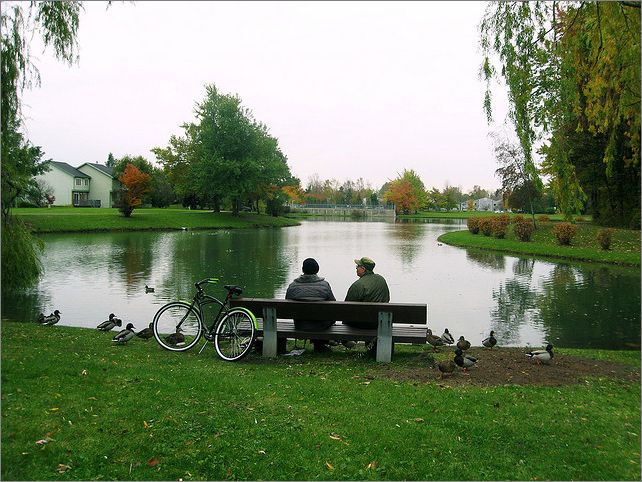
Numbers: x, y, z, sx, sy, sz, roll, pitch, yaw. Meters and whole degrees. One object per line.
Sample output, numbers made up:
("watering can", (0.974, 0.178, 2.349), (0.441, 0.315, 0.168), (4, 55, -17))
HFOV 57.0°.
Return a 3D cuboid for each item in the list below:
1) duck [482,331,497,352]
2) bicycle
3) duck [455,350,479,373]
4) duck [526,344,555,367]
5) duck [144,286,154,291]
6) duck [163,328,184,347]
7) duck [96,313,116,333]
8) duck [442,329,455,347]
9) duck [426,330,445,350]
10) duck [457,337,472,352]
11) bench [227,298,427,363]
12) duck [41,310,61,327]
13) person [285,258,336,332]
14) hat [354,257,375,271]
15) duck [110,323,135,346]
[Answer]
("duck", (3.760, 2.216, 13.261), (0.251, 0.457, 0.448), (-4, -5, -39))
("bicycle", (-2.426, 1.619, 12.473), (2.371, 1.612, 0.808), (3, -8, 18))
("duck", (2.807, 2.307, 11.528), (0.469, 0.395, 0.261), (2, -15, 15))
("duck", (4.335, 2.264, 11.749), (0.543, 0.428, 0.316), (0, 0, 13))
("duck", (-5.640, 1.564, 19.344), (0.255, 0.191, 0.169), (7, 3, 43))
("duck", (-3.178, 2.059, 12.709), (0.395, 0.396, 0.315), (3, 1, -4))
("duck", (-5.357, 2.003, 14.556), (0.535, 0.460, 0.308), (-8, 5, -6))
("duck", (2.892, 2.209, 13.607), (0.214, 0.330, 0.404), (3, 4, 2))
("duck", (2.547, 2.209, 13.226), (0.379, 0.444, 0.845), (0, -2, 12))
("duck", (3.045, 2.230, 12.808), (0.258, 0.297, 0.376), (-8, -18, 30))
("bench", (0.242, 1.763, 12.709), (4.146, 1.461, 1.367), (0, 13, 15))
("duck", (-6.839, 1.928, 14.907), (0.397, 0.371, 0.519), (2, -2, -32))
("person", (-0.257, 1.110, 12.733), (1.032, 1.595, 1.052), (2, 6, -3))
("hat", (0.975, 0.540, 12.706), (0.346, 0.124, 0.272), (21, 20, -20))
("duck", (-4.416, 2.070, 13.128), (0.445, 0.395, 0.621), (2, -2, -23))
